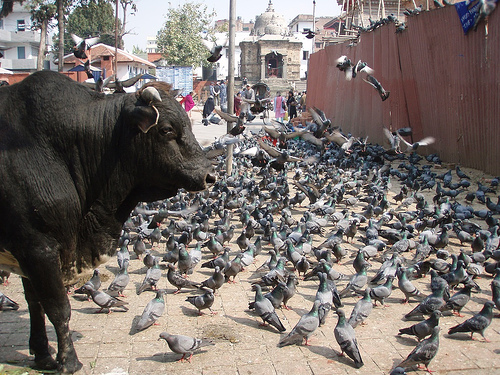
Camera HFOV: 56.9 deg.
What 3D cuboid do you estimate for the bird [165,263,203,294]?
[{"bbox_3d":[-1.113,1.519,7.735,0.706,0.461,0.202,7,-2,-24],"label":"bird"}]

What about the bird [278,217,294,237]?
[{"bbox_3d":[0.741,0.851,9.800,0.375,0.568,0.206,-4,-32,17],"label":"bird"}]

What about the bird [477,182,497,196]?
[{"bbox_3d":[6.504,0.072,12.626,0.580,0.391,0.201,7,1,-10],"label":"bird"}]

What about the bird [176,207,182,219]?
[{"bbox_3d":[-1.645,0.585,10.719,0.156,0.235,0.105,0,1,1],"label":"bird"}]

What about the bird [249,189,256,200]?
[{"bbox_3d":[0.055,0.193,12.682,0.158,0.362,0.193,1,-4,7],"label":"bird"}]

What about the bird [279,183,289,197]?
[{"bbox_3d":[0.955,0.071,12.960,0.195,0.321,0.575,3,5,15],"label":"bird"}]

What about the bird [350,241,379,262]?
[{"bbox_3d":[2.266,1.212,8.970,0.743,0.472,0.249,10,-5,-44],"label":"bird"}]

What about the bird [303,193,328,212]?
[{"bbox_3d":[1.696,0.413,11.809,0.272,0.578,0.809,15,10,43],"label":"bird"}]

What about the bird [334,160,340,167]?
[{"bbox_3d":[3.226,-0.881,17.119,0.193,0.254,0.389,3,4,7],"label":"bird"}]

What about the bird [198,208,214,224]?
[{"bbox_3d":[-1.043,0.665,10.969,0.106,0.366,0.149,32,-10,-5],"label":"bird"}]

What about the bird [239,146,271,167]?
[{"bbox_3d":[0.284,-1.083,16.384,0.808,0.363,0.810,20,5,-43],"label":"bird"}]

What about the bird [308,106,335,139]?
[{"bbox_3d":[2.387,-2.076,15.113,0.766,0.513,0.760,20,9,27],"label":"bird"}]

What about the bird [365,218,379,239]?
[{"bbox_3d":[2.586,0.916,9.811,0.146,0.284,0.448,-3,14,12],"label":"bird"}]

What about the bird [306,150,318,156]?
[{"bbox_3d":[2.667,-1.490,19.962,0.401,0.222,0.584,1,6,14],"label":"bird"}]

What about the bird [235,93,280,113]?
[{"bbox_3d":[0.184,-2.994,16.902,1.253,0.533,0.581,1,12,-1],"label":"bird"}]

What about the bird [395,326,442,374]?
[{"bbox_3d":[2.083,2.003,5.664,0.519,0.555,0.155,1,4,-13],"label":"bird"}]

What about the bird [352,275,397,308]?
[{"bbox_3d":[1.981,1.640,7.407,0.543,0.492,0.624,4,5,24],"label":"bird"}]

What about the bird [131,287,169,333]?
[{"bbox_3d":[-1.374,1.701,6.496,0.297,0.460,0.613,17,22,27],"label":"bird"}]

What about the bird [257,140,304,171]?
[{"bbox_3d":[0.925,-0.885,13.949,1.189,0.368,0.697,22,-6,34],"label":"bird"}]

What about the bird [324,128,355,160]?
[{"bbox_3d":[3.337,-1.652,15.909,1.209,0.865,0.571,6,39,44],"label":"bird"}]

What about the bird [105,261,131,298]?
[{"bbox_3d":[-2.076,1.449,7.315,0.202,0.540,0.514,-7,-11,40],"label":"bird"}]

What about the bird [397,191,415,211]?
[{"bbox_3d":[4.186,0.346,12.498,0.232,0.506,0.690,13,30,44],"label":"bird"}]

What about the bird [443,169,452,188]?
[{"bbox_3d":[5.918,-0.263,14.012,0.192,0.344,0.548,5,30,30],"label":"bird"}]

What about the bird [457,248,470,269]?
[{"bbox_3d":[3.858,1.297,8.368,0.131,0.282,0.262,-11,44,2],"label":"bird"}]

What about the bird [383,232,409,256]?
[{"bbox_3d":[2.899,1.099,9.035,0.555,0.407,0.207,0,5,-26],"label":"bird"}]

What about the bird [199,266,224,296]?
[{"bbox_3d":[-0.564,1.487,7.669,0.445,0.481,0.249,-5,-4,37],"label":"bird"}]

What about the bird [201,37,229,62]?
[{"bbox_3d":[-1.001,-4.822,15.837,0.691,0.567,0.646,2,33,23],"label":"bird"}]

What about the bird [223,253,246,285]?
[{"bbox_3d":[-0.287,1.406,8.113,0.315,0.532,0.497,2,4,0],"label":"bird"}]

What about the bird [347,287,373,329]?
[{"bbox_3d":[1.623,1.783,6.821,0.189,0.417,0.637,12,36,35],"label":"bird"}]

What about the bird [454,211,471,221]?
[{"bbox_3d":[5.007,0.656,10.923,0.432,0.191,0.178,-12,24,2],"label":"bird"}]

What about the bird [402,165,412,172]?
[{"bbox_3d":[5.419,-0.651,16.009,0.236,0.248,0.518,3,4,2],"label":"bird"}]

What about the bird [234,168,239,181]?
[{"bbox_3d":[-0.454,-0.432,14.890,0.098,0.319,0.189,0,-25,15],"label":"bird"}]

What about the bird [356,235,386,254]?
[{"bbox_3d":[2.416,1.086,9.194,0.532,0.236,0.173,32,12,25],"label":"bird"}]

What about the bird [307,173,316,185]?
[{"bbox_3d":[1.845,-0.248,13.751,0.245,0.334,0.312,1,8,13],"label":"bird"}]

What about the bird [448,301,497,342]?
[{"bbox_3d":[3.092,1.848,6.403,0.632,0.527,0.246,1,4,-13],"label":"bird"}]

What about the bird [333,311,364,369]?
[{"bbox_3d":[1.138,1.916,5.871,0.204,0.440,0.631,-9,27,-12],"label":"bird"}]

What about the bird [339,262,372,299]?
[{"bbox_3d":[1.614,1.526,7.423,0.818,0.502,0.233,-10,13,-25],"label":"bird"}]
